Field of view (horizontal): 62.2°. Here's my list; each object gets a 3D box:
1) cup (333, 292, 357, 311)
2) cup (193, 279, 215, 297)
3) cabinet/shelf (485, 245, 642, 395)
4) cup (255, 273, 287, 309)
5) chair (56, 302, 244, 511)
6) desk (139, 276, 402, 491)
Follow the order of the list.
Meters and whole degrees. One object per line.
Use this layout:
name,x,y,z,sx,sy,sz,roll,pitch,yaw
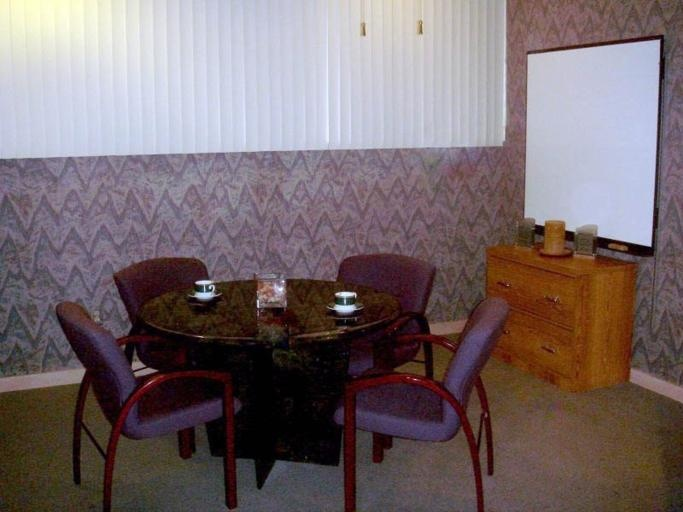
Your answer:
cup,0.027,0.230,2.879,0.091,0.075,0.077,0,6,-14
cup,-0.759,0.174,3.109,0.096,0.074,0.077,3,2,-11
cabinet/shelf,1.580,0.421,4.248,0.524,0.879,0.923,-7,11,-24
cup,-0.355,0.179,2.863,0.147,0.168,0.159,1,7,0
chair,-0.925,0.599,3.077,1.034,1.333,0.774,-5,12,-28
desk,-0.325,0.574,2.847,1.006,0.747,1.043,-5,10,-40
